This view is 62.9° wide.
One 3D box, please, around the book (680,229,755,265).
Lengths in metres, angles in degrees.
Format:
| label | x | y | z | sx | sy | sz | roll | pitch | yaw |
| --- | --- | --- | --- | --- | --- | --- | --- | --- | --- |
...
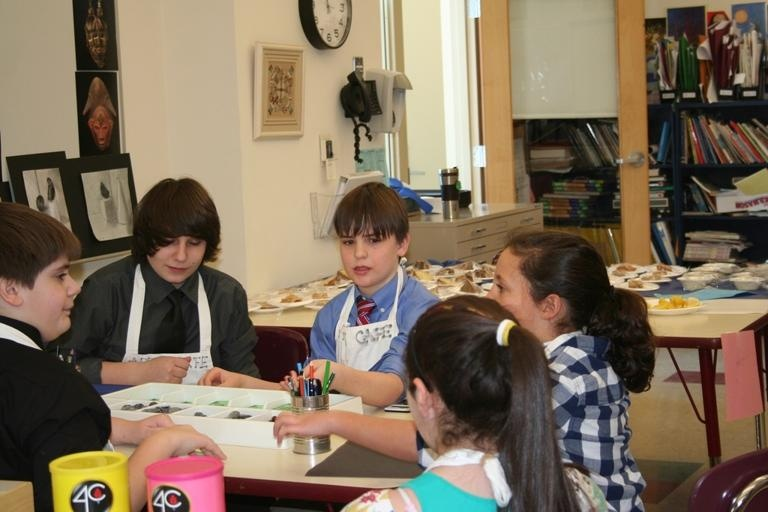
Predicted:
| label | x | y | z | sx | sy | sz | roll | pitch | yaw |
| --- | --- | --- | --- | --- | --- | --- | --- | --- | --- |
| book | 2.945 | -0.091 | 5.549 | 0.581 | 0.277 | 0.350 | -3 | 4 | 17 |

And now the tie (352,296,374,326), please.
| label | x | y | z | sx | sy | sz | roll | pitch | yaw |
| --- | --- | --- | --- | --- | --- | --- | --- | --- | --- |
| tie | -0.077 | 0.185 | 2.138 | 0.068 | 0.089 | 0.029 | 12 | 4 | 25 |

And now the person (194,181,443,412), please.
| label | x | y | z | sx | sy | sz | roll | pitch | yaw |
| --- | --- | --- | --- | --- | --- | --- | --- | --- | --- |
| person | -0.210 | 0.123 | 2.311 | 0.618 | 0.883 | 0.788 | -1 | -2 | 42 |

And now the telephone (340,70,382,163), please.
| label | x | y | z | sx | sy | sz | roll | pitch | yaw |
| --- | --- | --- | --- | --- | --- | --- | --- | --- | --- |
| telephone | -0.132 | -0.907 | 4.091 | 0.169 | 0.587 | 0.329 | -2 | 4 | 29 |

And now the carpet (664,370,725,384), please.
| label | x | y | z | sx | sy | sz | roll | pitch | yaw |
| --- | --- | --- | --- | --- | --- | --- | --- | --- | --- |
| carpet | 2.161 | 0.856 | 4.432 | 0.347 | 0.002 | 0.310 | -1 | 10 | 12 |

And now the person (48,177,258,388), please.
| label | x | y | z | sx | sy | sz | roll | pitch | yaw |
| --- | --- | --- | --- | --- | --- | --- | --- | --- | --- |
| person | -0.849 | 0.154 | 2.471 | 0.888 | 0.992 | 0.694 | -2 | 9 | -27 |

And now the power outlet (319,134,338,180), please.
| label | x | y | z | sx | sy | sz | roll | pitch | yaw |
| --- | --- | --- | --- | --- | --- | --- | --- | --- | --- |
| power outlet | -0.354 | -0.611 | 3.901 | 0.039 | 0.272 | 0.140 | -3 | 4 | 25 |

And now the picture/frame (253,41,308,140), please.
| label | x | y | z | sx | sy | sz | roll | pitch | yaw |
| --- | --- | --- | --- | --- | --- | --- | --- | --- | --- |
| picture/frame | -0.592 | -0.920 | 3.481 | 0.056 | 0.618 | 0.589 | 2 | 4 | 28 |

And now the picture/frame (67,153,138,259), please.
| label | x | y | z | sx | sy | sz | roll | pitch | yaw |
| --- | --- | --- | --- | --- | --- | --- | --- | --- | --- |
| picture/frame | -1.282 | -0.228 | 2.819 | 0.035 | 0.441 | 0.441 | 7 | 15 | 34 |
